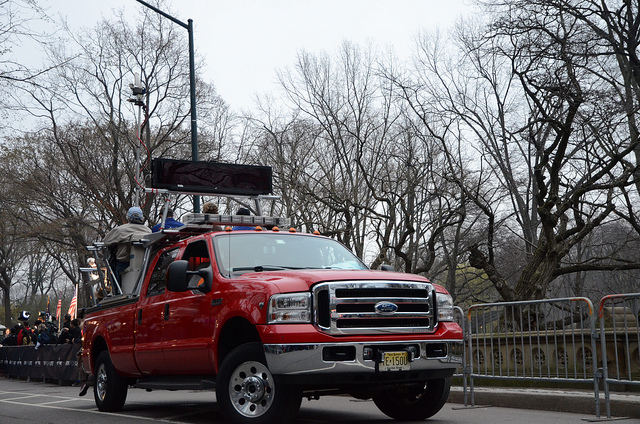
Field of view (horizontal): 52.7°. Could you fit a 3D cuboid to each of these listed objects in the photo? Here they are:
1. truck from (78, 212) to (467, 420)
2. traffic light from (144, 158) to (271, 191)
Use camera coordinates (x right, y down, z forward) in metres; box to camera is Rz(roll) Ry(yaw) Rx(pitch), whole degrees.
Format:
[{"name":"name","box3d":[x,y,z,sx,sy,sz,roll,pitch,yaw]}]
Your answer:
[{"name":"truck","box3d":[-2.016,2.137,13.428,9.295,4.171,3.798,-8,-10,39]},{"name":"traffic light","box3d":[-2.527,-0.804,15.355,2.817,0.662,0.358,2,-10,-28]}]
